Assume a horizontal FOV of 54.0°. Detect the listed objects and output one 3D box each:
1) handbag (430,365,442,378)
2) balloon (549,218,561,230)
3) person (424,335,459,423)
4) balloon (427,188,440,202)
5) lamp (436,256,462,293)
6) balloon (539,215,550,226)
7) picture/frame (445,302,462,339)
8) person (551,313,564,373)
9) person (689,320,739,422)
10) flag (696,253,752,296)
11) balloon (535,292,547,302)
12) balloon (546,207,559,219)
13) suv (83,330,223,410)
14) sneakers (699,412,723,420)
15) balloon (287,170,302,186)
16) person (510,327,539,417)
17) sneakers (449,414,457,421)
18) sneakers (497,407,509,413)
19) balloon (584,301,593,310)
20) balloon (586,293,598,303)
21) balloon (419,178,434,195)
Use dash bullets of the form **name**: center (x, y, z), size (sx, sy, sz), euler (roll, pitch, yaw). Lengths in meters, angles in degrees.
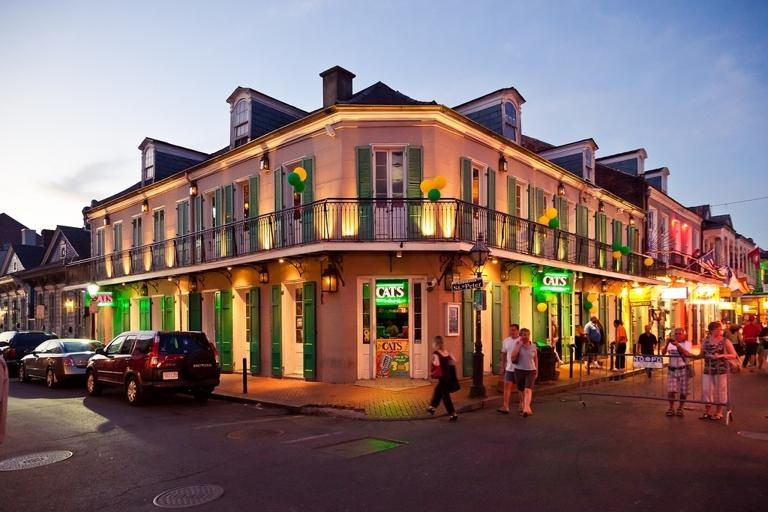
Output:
- **handbag**: center (1.331, 3.034, 19.669), size (0.278, 0.338, 0.290), euler (1, -5, -5)
- **balloon**: center (6.256, -1.197, 27.603), size (0.365, 0.372, 0.435), euler (-9, 17, 12)
- **person**: center (1.563, 3.155, 20.103), size (0.807, 2.160, 1.276), euler (0, 6, 3)
- **balloon**: center (1.562, -1.937, 23.629), size (0.385, 0.414, 0.574), euler (-1, 6, 1)
- **lamp**: center (2.078, 0.518, 24.444), size (0.364, 1.288, 0.470), euler (-18, 4, 37)
- **balloon**: center (5.825, -1.316, 27.388), size (0.353, 0.357, 0.409), euler (-13, 11, -11)
- **picture/frame**: center (2.275, 2.045, 24.522), size (0.752, 1.077, 0.102), euler (-7, 9, -43)
- **person**: center (6.770, 3.275, 29.421), size (0.442, 1.918, 0.654), euler (1, 7, 18)
- **person**: center (8.745, 3.021, 19.766), size (0.871, 2.520, 1.093), euler (2, 7, 25)
- **flag**: center (18.639, 0.989, 41.476), size (3.618, 1.568, 1.174), euler (27, -17, -16)
- **balloon**: center (5.941, 1.550, 28.490), size (0.364, 0.364, 0.381), euler (-4, -2, 7)
- **balloon**: center (6.198, -1.592, 27.747), size (0.420, 0.506, 0.423), euler (-6, 33, -4)
- **suv**: center (-6.920, 3.202, 22.259), size (3.755, 2.150, 1.613), euler (2, 7, 24)
- **sneakers**: center (8.566, 4.188, 19.716), size (0.552, 0.119, 0.289), euler (2, 7, 20)
- **balloon**: center (-2.768, -2.419, 23.248), size (0.424, 0.430, 0.513), euler (1, -2, 1)
- **person**: center (3.747, 3.109, 20.235), size (0.623, 2.326, 0.876), euler (2, 7, 25)
- **sneakers**: center (1.823, 4.183, 19.710), size (0.230, 0.168, 0.282), euler (-1, 6, 1)
- **sneakers**: center (3.242, 4.161, 20.459), size (0.294, 0.140, 0.327), euler (0, 6, 2)
- **balloon**: center (8.536, 2.003, 31.251), size (0.308, 0.311, 0.353), euler (-6, 20, -16)
- **balloon**: center (8.856, 1.770, 31.967), size (0.426, 0.436, 0.568), euler (5, 5, 32)
- **balloon**: center (1.371, -2.201, 23.701), size (0.441, 0.514, 0.449), euler (-7, -25, 11)
